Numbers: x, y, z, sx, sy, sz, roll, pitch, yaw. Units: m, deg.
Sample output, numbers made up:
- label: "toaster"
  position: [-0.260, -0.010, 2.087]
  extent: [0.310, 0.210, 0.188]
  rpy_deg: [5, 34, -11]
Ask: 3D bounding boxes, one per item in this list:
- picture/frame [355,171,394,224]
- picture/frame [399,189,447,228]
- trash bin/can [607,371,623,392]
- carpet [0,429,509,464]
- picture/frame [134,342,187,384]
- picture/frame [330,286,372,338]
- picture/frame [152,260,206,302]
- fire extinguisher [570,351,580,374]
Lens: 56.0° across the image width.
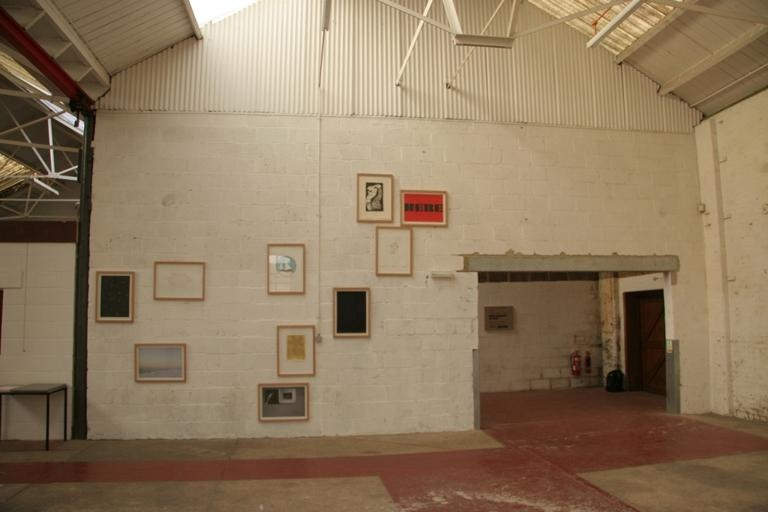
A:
- label: "picture/frame"
  position: [-0.148, -1.058, 13.167]
  extent: [0.638, 0.882, 0.297]
  rpy_deg: [-1, 13, -2]
- label: "picture/frame"
  position: [0.689, -0.847, 13.233]
  extent: [0.885, 0.560, 0.066]
  rpy_deg: [1, -6, -5]
- label: "trash bin/can"
  position: [5.223, 2.821, 16.417]
  extent: [0.352, 0.433, 0.340]
  rpy_deg: [3, 13, 14]
- label: "carpet"
  position: [-2.394, 3.251, 12.256]
  extent: [7.949, 0.118, 0.915]
  rpy_deg: [-1, 11, -3]
- label: "picture/frame"
  position: [-3.924, 1.889, 12.675]
  extent: [0.907, 0.553, 0.068]
  rpy_deg: [0, -3, -1]
- label: "picture/frame"
  position: [-0.606, 1.038, 12.971]
  extent: [1.151, 1.153, 0.100]
  rpy_deg: [0, -6, -7]
- label: "picture/frame"
  position: [-3.632, 0.459, 12.798]
  extent: [0.904, 0.563, 0.072]
  rpy_deg: [0, -2, -3]
- label: "fire extinguisher"
  position: [4.503, 2.518, 17.055]
  extent: [0.256, 0.544, 0.207]
  rpy_deg: [3, 13, 12]
